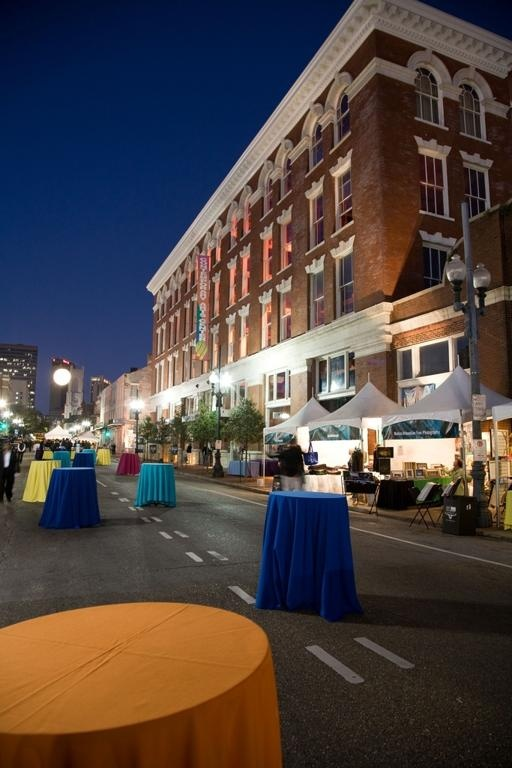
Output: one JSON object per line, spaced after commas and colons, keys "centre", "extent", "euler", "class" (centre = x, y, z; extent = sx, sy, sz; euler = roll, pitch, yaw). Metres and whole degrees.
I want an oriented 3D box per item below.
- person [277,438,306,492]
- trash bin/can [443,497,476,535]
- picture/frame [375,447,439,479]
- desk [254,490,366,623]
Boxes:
{"centre": [0.716, 1.576, 9.814], "extent": [0.620, 1.389, 0.672], "euler": [3, -7, -9], "class": "person"}
{"centre": [4.463, 2.880, 11.248], "extent": [0.689, 0.832, 0.551], "euler": [3, -7, 19], "class": "trash bin/can"}
{"centre": [5.290, 2.873, 19.064], "extent": [2.034, 1.340, 1.513], "euler": [2, 0, 5], "class": "picture/frame"}
{"centre": [0.467, 1.748, 5.653], "extent": [0.990, 1.183, 0.954], "euler": [-1, -17, -4], "class": "desk"}
